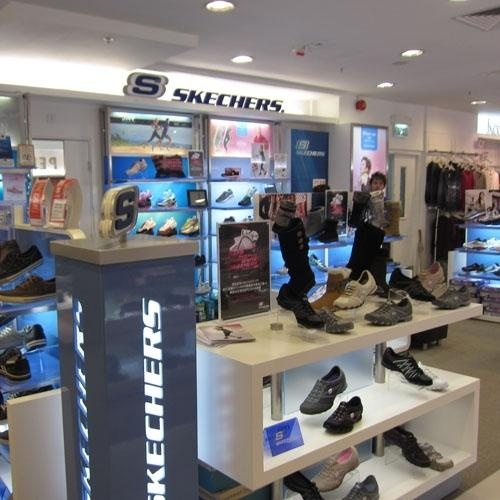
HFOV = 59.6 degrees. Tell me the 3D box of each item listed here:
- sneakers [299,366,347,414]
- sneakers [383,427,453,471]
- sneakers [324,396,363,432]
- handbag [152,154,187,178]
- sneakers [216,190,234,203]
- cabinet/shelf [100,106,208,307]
[{"bbox_3d":[0.321,0.624,1.951,0.111,0.127,0.318,1,20,34],"label":"sneakers"},{"bbox_3d":[0.912,1.081,2.387,0.327,0.143,0.142,19,15,32],"label":"sneakers"},{"bbox_3d":[0.418,0.716,1.896,0.089,0.107,0.247,-11,-2,45],"label":"sneakers"},{"bbox_3d":[-1.038,-1.062,5.563,0.396,0.271,0.149,-4,14,-17],"label":"handbag"},{"bbox_3d":[-0.356,-0.779,6.290,0.114,0.133,0.322,17,41,32],"label":"sneakers"},{"bbox_3d":[-1.207,-0.630,5.451,1.251,2.734,0.351,0,-17,-14],"label":"cabinet/shelf"}]
